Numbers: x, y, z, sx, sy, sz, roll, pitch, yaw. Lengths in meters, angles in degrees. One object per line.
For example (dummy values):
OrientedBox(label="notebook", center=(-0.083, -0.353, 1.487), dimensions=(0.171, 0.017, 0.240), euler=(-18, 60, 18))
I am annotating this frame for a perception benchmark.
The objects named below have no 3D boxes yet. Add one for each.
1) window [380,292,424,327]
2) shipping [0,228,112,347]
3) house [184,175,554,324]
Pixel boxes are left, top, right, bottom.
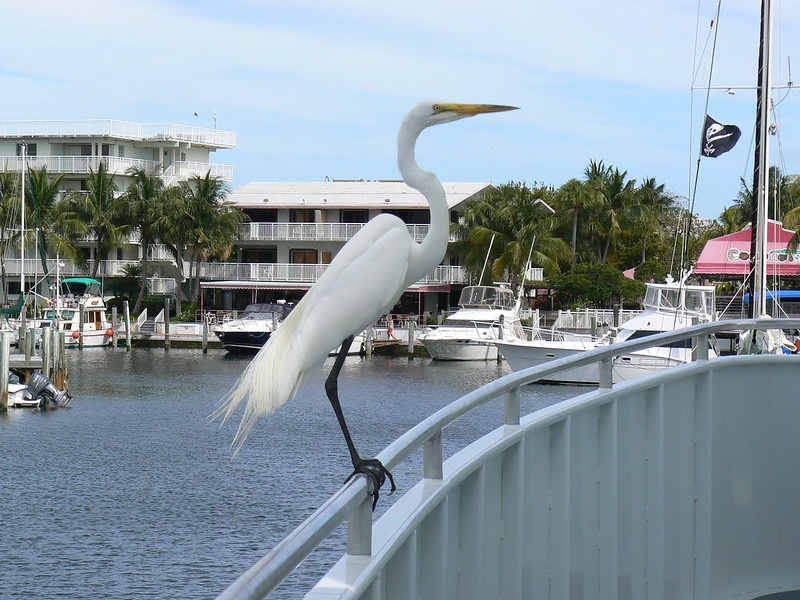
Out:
OrientedBox(label="window", center=(-0.119, 0.526, 61.595), dimensions=(1.196, 1.539, 2.159), euler=(-2, 7, -30))
OrientedBox(label="shipping", center=(-12.726, 0.414, 53.379), dimensions=(2.201, 2.997, 6.393), euler=(4, 2, 15))
OrientedBox(label="house", center=(-2.218, -2.529, 64.860), dimensions=(12.054, 5.716, 11.375), euler=(0, -10, 27))
